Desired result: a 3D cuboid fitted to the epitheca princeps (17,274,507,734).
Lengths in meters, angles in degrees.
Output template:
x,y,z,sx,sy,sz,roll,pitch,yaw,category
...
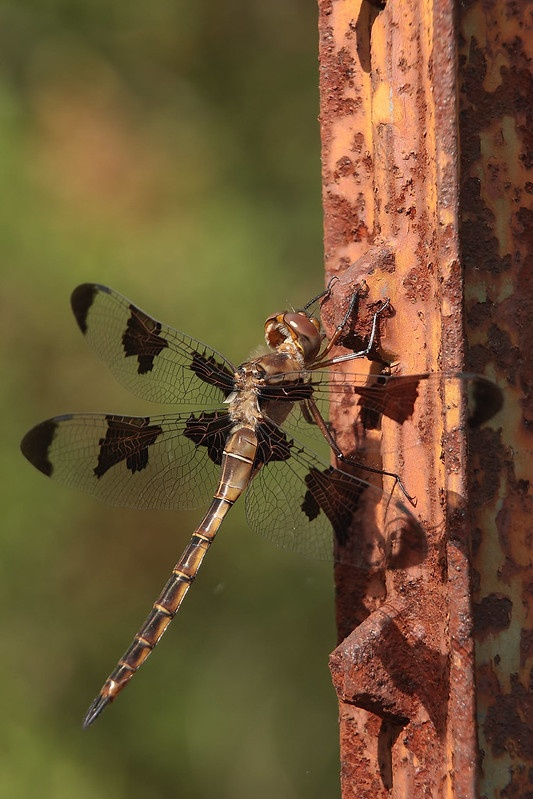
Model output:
x,y,z,sx,sy,sz,roll,pitch,yaw,category
0.065,0.110,1.381,0.612,0.629,0.325,21,-17,40,epitheca princeps
